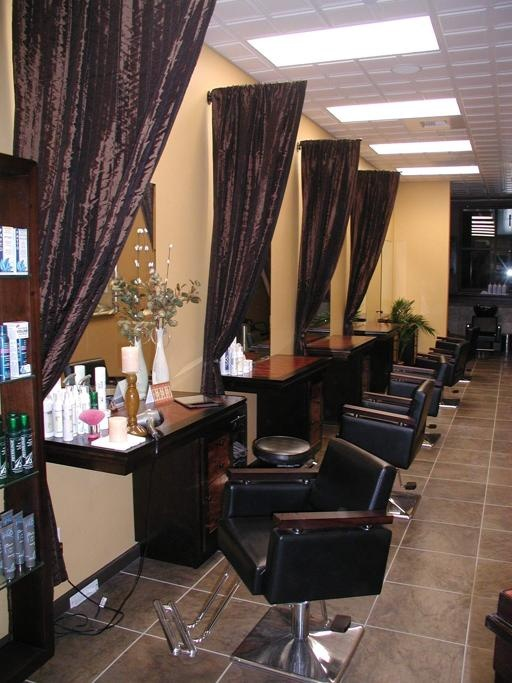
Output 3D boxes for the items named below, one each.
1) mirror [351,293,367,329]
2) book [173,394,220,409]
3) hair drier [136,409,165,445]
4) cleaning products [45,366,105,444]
[{"bbox_3d":[1.530,-0.436,7.729,0.141,0.390,0.620,4,28,25],"label":"mirror"},{"bbox_3d":[-0.307,0.322,2.852,0.263,0.031,0.294,0,4,-6],"label":"book"},{"bbox_3d":[-0.462,0.362,2.327,0.065,0.068,0.212,16,3,-12],"label":"hair drier"},{"bbox_3d":[-0.773,0.256,2.290,0.293,0.318,0.233,1,-2,-21],"label":"cleaning products"}]
